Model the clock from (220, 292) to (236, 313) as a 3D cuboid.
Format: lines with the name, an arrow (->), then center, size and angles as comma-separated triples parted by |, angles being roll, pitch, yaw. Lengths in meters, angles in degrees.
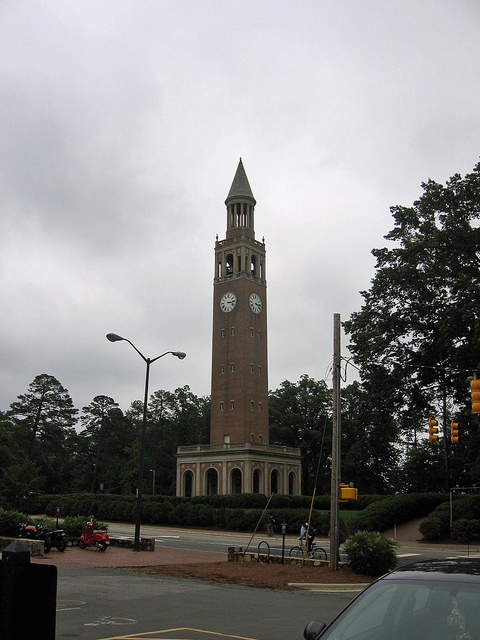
clock -> -1.241, -2.056, 70.124 | 0.168, 1.952, 1.815 | 9, -14, -38

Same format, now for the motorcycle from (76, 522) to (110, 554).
motorcycle -> -5.212, 7.767, 23.881 | 1.591, 0.921, 0.963 | -10, -19, 44

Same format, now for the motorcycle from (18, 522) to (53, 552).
motorcycle -> -6.547, 6.964, 21.214 | 1.076, 0.764, 1.000 | 0, -14, 13

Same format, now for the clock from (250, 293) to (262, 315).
clock -> 1.637, -2.014, 70.493 | 0.363, 2.184, 2.380 | -4, -15, 28

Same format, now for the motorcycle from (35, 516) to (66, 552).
motorcycle -> -6.443, 7.320, 22.357 | 1.218, 0.850, 0.737 | -12, -25, 27
